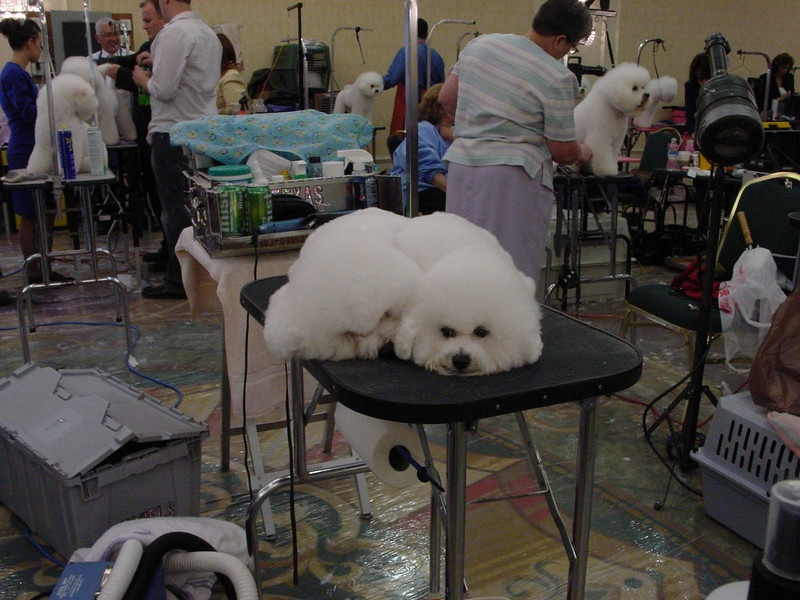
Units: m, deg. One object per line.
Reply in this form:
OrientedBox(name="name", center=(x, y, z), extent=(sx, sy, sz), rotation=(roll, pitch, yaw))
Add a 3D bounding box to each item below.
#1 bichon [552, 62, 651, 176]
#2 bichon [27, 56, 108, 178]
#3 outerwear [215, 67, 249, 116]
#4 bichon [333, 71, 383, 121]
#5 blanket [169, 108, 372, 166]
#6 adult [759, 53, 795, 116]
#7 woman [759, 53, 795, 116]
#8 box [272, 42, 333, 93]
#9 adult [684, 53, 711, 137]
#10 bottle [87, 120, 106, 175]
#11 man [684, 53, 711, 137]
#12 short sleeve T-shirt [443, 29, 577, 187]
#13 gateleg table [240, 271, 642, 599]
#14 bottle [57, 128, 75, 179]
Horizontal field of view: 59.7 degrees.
OrientedBox(name="bichon", center=(1.149, -1.058, 4.320), extent=(0.777, 0.609, 0.453), rotation=(-4, 8, 26))
OrientedBox(name="bichon", center=(-2.115, -1.204, 4.524), extent=(0.382, 0.803, 0.645), rotation=(13, 19, 36))
OrientedBox(name="outerwear", center=(-1.558, -1.894, 6.325), extent=(0.244, 0.414, 0.421), rotation=(1, 20, -19))
OrientedBox(name="bichon", center=(-0.480, -2.251, 7.811), extent=(0.266, 0.589, 0.675), rotation=(-11, 23, -44))
OrientedBox(name="blanket", center=(-0.514, -0.686, 2.876), extent=(0.562, 0.112, 0.393), rotation=(-10, 25, -23))
OrientedBox(name="adult", center=(4.135, -2.395, 7.636), extent=(0.350, 0.687, 2.290), rotation=(6, 15, 25))
OrientedBox(name="woman", center=(4.133, -2.394, 7.632), extent=(0.350, 0.687, 2.298), rotation=(6, 15, 25))
OrientedBox(name="box", center=(-1.182, -2.750, 8.189), extent=(0.711, 0.526, 0.718), rotation=(13, 21, 29))
OrientedBox(name="adult", center=(2.761, -1.944, 6.516), extent=(0.181, 0.761, 0.742), rotation=(5, 15, 20))
OrientedBox(name="bottle", center=(-1.867, -0.919, 4.276), extent=(0.103, 0.290, 0.292), rotation=(-7, 15, -22))
OrientedBox(name="man", center=(2.759, -1.943, 6.512), extent=(0.182, 0.761, 0.751), rotation=(5, 15, 21))
OrientedBox(name="short sleeve T-shirt", center=(0.496, -0.933, 3.290), extent=(0.678, 0.611, 0.381), rotation=(29, 39, 32))
OrientedBox(name="gateleg table", center=(0.116, 0.226, 1.831), extent=(0.677, 0.613, 1.208), rotation=(-6, 13, -26))
OrientedBox(name="bottle", center=(-1.970, -0.859, 4.105), extent=(0.087, 0.277, 0.285), rotation=(-7, 16, -24))
